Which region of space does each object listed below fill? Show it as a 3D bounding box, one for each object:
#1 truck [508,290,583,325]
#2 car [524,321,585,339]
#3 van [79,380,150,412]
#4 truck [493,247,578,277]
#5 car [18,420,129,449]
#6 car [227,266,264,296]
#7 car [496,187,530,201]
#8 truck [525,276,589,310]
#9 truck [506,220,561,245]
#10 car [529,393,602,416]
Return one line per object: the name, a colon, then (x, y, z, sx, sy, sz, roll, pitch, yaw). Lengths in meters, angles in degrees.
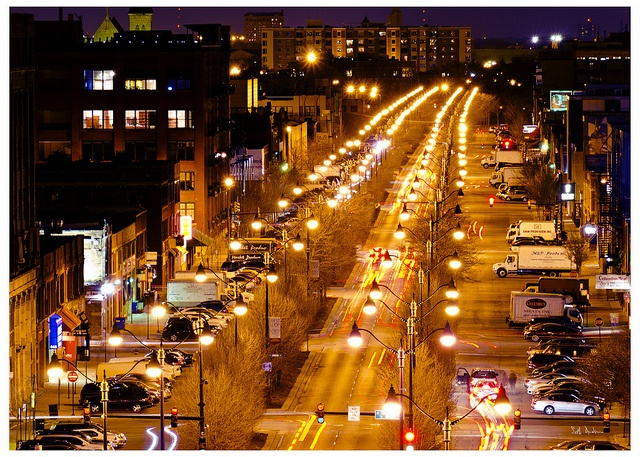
truck: (22.238, 8.038, 122.362, 7.046, 3.409, 2.882, 1, -1, 12)
car: (22.209, 9.681, 117.763, 4.495, 1.476, 2.070, -1, 1, 1)
van: (-16.405, 13.532, 99.794, 5.237, 2.071, 2.483, 4, -2, -2)
truck: (24.827, 3.712, 141.255, 11.430, 4.651, 3.154, 1, 0, 11)
car: (-17.383, 14.886, 90.730, 5.364, 1.891, 2.532, 0, 5, 2)
car: (-7.812, 5.748, 133.791, 3.921, 1.266, 2.456, -3, 5, 5)
car: (29.676, -5.293, 189.673, 3.306, 1.613, 2.072, 2, 2, 1)
truck: (24.872, 6.531, 126.635, 7.633, 3.894, 2.745, -1, 4, 3)
truck: (26.215, 0.385, 153.739, 5.784, 2.918, 2.297, 1, 2, 18)
car: (19.554, 13.934, 99.001, 4.573, 1.409, 1.968, -1, 0, 1)
